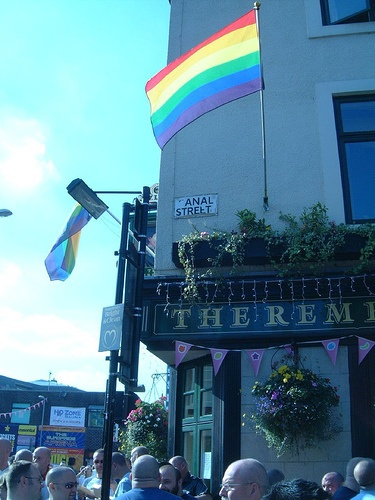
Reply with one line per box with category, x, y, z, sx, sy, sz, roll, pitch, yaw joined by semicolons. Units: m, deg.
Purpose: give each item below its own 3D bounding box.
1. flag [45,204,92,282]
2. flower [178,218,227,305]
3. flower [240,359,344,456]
flag;-1.881;-0.250;8.343;0.449;1.863;0.234;11;-48;-12
flower;0.205;0.170;6.836;0.770;0.989;0.440;-4;-23;11
flower;1.145;1.654;5.770;1.003;1.109;0.669;-5;-23;13
